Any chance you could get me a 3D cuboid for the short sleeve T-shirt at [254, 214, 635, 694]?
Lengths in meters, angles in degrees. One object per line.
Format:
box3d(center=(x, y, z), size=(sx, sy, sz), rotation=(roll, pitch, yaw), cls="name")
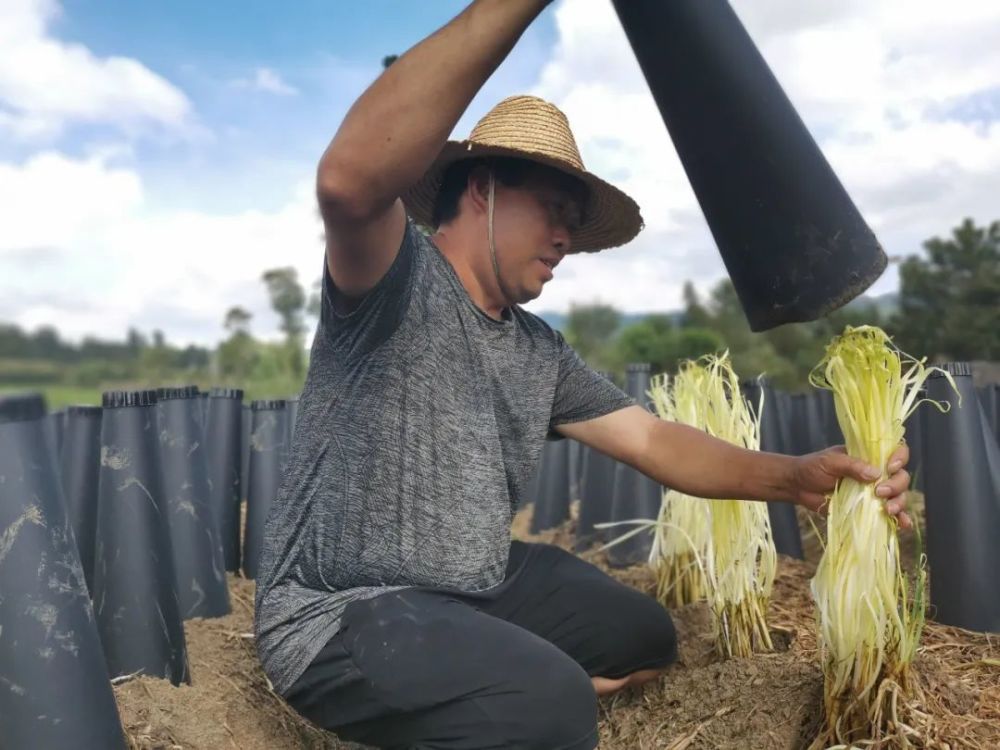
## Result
box3d(center=(-0.259, 0.325, 4.669), size=(1.012, 1.871, 1.617), rotation=(-2, -21, 30), cls="short sleeve T-shirt")
